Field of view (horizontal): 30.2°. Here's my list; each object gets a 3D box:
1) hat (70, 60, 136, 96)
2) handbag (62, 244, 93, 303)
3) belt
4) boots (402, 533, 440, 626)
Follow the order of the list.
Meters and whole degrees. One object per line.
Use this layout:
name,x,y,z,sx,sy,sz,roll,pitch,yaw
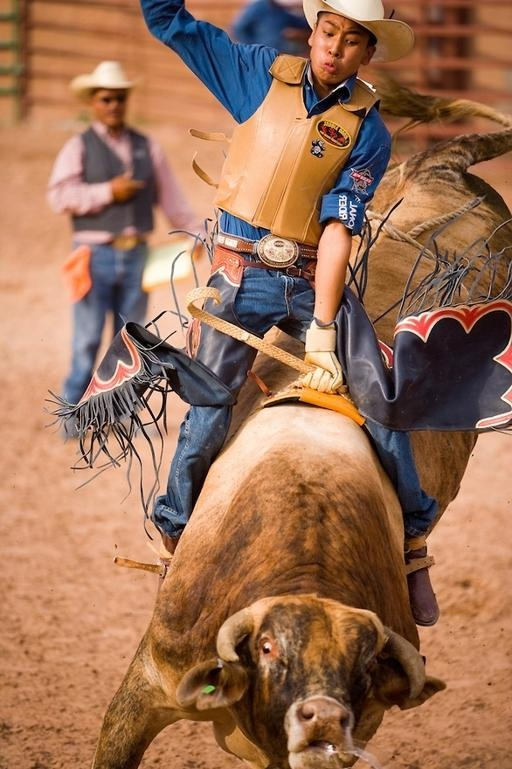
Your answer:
hat,-0.927,-1.854,5.701,0.295,0.113,0.314,1,-2,-11
handbag,-1.012,-0.665,5.473,0.084,0.199,0.309,6,57,16
belt,0.031,-0.410,2.840,0.179,0.040,0.136,13,17,6
boots,0.543,0.663,3.144,0.127,0.310,0.156,-6,0,-1
